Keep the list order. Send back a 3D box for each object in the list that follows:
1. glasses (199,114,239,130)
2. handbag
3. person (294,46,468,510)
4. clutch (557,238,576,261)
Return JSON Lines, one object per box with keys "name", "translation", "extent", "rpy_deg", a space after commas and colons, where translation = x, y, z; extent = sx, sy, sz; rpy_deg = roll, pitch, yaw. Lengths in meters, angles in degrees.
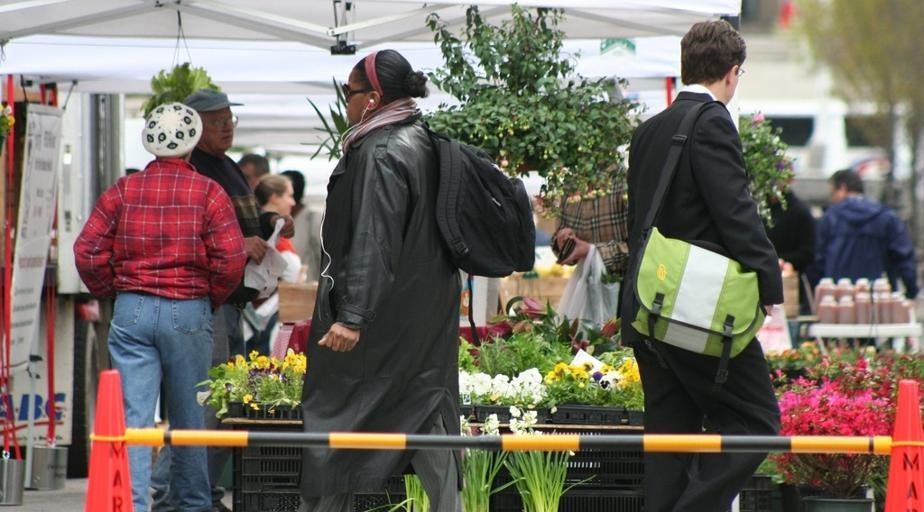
{"name": "glasses", "translation": [-2.614, -1.472, 22.771], "extent": [0.257, 0.105, 0.195], "rpy_deg": [-7, -9, 36]}
{"name": "handbag", "translation": [2.363, 0.366, 21.020], "extent": [1.221, 0.993, 0.625], "rpy_deg": [19, -5, 0]}
{"name": "person", "translation": [-0.811, -0.144, 21.303], "extent": [1.547, 3.867, 0.490], "rpy_deg": [-2, -6, -1]}
{"name": "clutch", "translation": [1.138, -0.061, 23.269], "extent": [0.066, 0.256, 0.150], "rpy_deg": [20, 13, -47]}
